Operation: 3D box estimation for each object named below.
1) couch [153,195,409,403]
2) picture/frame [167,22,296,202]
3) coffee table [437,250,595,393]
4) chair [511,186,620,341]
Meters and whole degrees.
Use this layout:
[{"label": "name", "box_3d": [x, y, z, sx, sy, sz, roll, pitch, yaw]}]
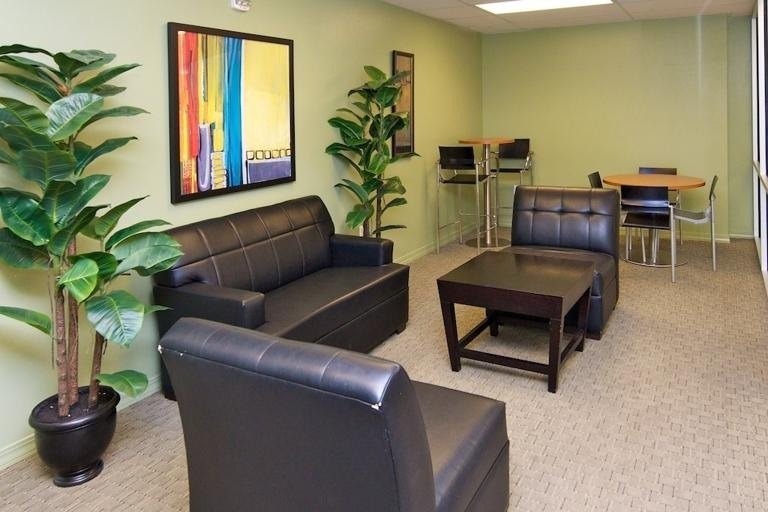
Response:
[{"label": "couch", "box_3d": [-0.636, 0.291, 4.222, 1.048, 1.165, 1.904, 5, 16, 28]}, {"label": "picture/frame", "box_3d": [-1.203, -1.118, 4.125, 0.051, 1.403, 1.433, 6, 9, 30]}, {"label": "coffee table", "box_3d": [1.029, 0.248, 4.018, 0.982, 0.770, 1.022, 6, 17, 28]}, {"label": "chair", "box_3d": [1.672, -0.010, 4.904, 1.166, 1.287, 1.199, 4, 14, 24]}]
